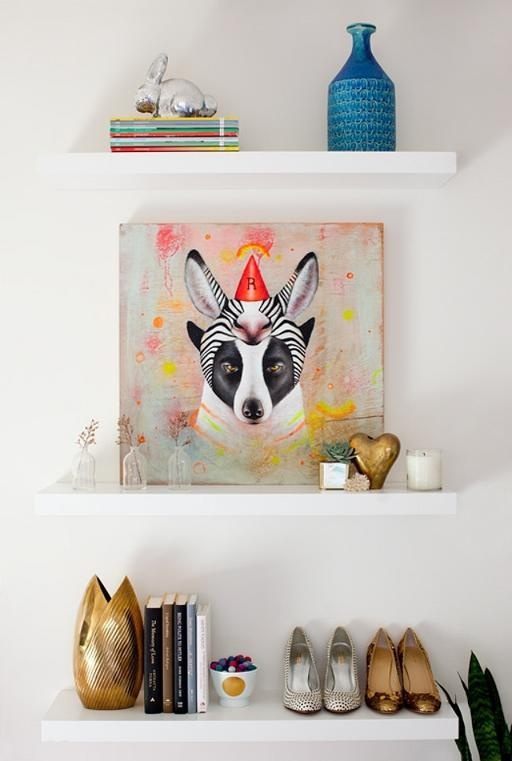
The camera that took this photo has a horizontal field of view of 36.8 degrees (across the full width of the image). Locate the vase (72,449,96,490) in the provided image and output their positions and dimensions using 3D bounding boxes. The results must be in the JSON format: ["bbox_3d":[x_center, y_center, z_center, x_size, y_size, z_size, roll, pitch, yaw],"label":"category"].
[{"bbox_3d":[-0.343,0.176,1.532,0.040,0.079,0.052,0,-4,-16],"label":"vase"}]

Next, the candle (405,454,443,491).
[{"bbox_3d":[0.324,0.174,1.478,0.071,0.076,0.069,2,-3,-7],"label":"candle"}]

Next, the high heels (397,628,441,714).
[{"bbox_3d":[0.321,0.583,1.532,0.056,0.052,0.152,0,9,-2],"label":"high heels"}]

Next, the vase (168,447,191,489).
[{"bbox_3d":[-0.156,0.175,1.568,0.045,0.078,0.085,-1,-4,-7],"label":"vase"}]

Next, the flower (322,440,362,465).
[{"bbox_3d":[0.163,0.141,1.524,0.065,0.043,0.048,0,-4,-10],"label":"flower"}]

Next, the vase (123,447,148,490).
[{"bbox_3d":[-0.247,0.175,1.561,0.050,0.081,0.083,-1,-4,-8],"label":"vase"}]

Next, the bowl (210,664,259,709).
[{"bbox_3d":[-0.042,0.590,1.494,0.077,0.051,0.075,-1,-14,0],"label":"bowl"}]

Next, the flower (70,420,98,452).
[{"bbox_3d":[-0.354,0.113,1.618,0.047,0.065,0.016,-2,-4,18],"label":"flower"}]

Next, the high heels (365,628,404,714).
[{"bbox_3d":[0.250,0.578,1.534,0.064,0.056,0.168,-3,27,6],"label":"high heels"}]

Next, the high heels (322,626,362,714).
[{"bbox_3d":[0.172,0.572,1.525,0.069,0.059,0.178,3,28,6],"label":"high heels"}]

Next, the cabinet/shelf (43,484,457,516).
[{"bbox_3d":[-0.019,0.242,1.527,0.786,0.078,0.177,-1,-3,1],"label":"cabinet/shelf"}]

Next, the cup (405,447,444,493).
[{"bbox_3d":[0.323,0.173,1.478,0.074,0.080,0.073,0,-5,0],"label":"cup"}]

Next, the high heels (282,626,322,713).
[{"bbox_3d":[0.085,0.569,1.525,0.067,0.061,0.175,-4,30,-3],"label":"high heels"}]
